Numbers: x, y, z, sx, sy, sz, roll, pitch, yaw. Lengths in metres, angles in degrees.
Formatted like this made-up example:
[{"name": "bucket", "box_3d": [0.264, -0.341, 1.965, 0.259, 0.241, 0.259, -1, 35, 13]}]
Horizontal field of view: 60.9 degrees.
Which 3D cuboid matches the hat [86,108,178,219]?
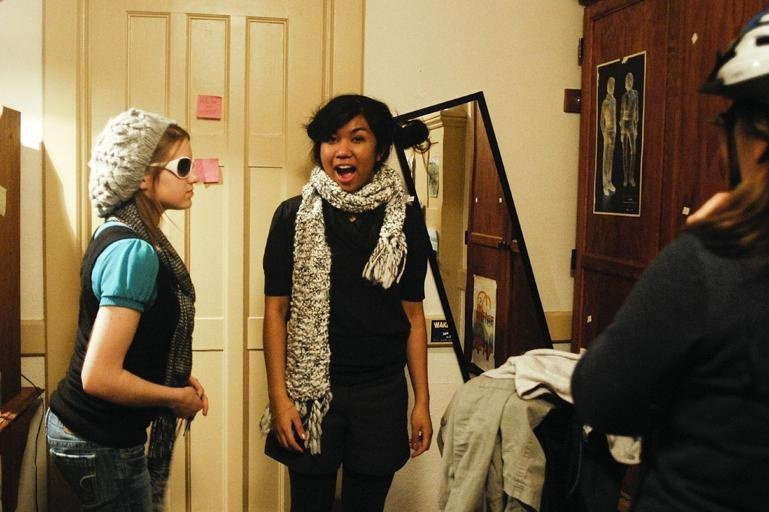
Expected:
[{"name": "hat", "box_3d": [-0.909, -0.346, 2.255, 0.168, 0.348, 0.272, 17, 11, -2]}]
